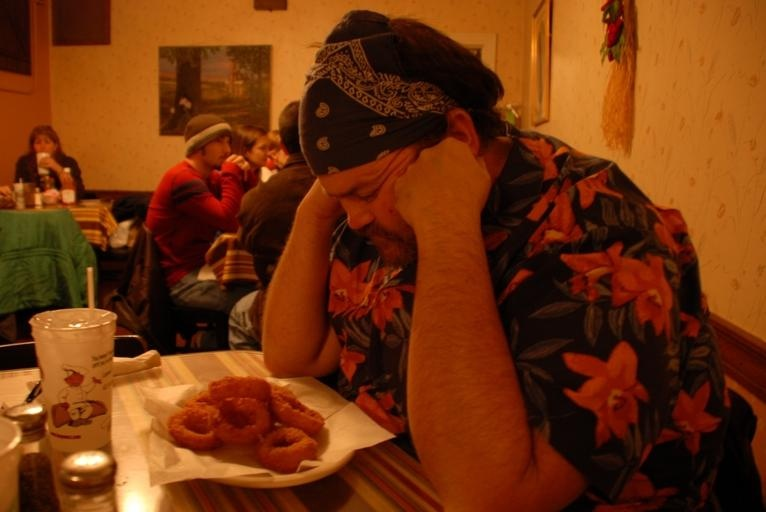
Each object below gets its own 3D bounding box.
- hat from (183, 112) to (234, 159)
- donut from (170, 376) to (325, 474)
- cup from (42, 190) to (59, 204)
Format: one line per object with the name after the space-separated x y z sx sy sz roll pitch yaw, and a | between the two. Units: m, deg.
-1.175 -0.811 4.026 0.335 0.286 0.317 -2 17 17 | hat
-0.272 0.330 1.200 0.203 0.068 0.209 24 22 -1 | donut
-2.555 -0.465 4.635 0.123 0.077 0.130 3 15 -1 | cup
